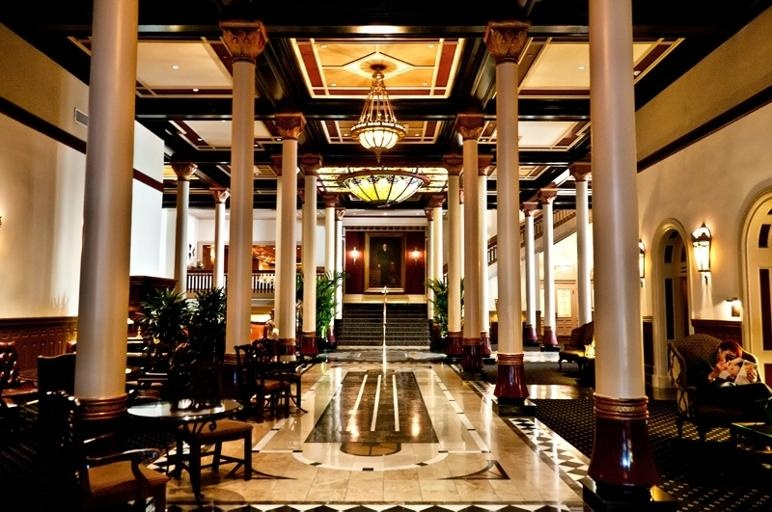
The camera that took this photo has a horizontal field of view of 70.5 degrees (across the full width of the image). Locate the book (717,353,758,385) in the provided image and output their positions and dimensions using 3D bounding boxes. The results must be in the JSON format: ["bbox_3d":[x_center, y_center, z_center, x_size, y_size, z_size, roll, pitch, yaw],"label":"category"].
[{"bbox_3d":[5.347,1.722,8.356,0.461,0.315,0.440,1,-11,-2],"label":"book"}]

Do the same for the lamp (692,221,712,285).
[{"bbox_3d":[6.212,-0.061,10.814,0.247,1.204,0.474,0,-9,1],"label":"lamp"}]

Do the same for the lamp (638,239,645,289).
[{"bbox_3d":[6.017,0.122,12.852,0.137,1.130,0.462,-4,-9,20],"label":"lamp"}]

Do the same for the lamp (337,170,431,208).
[{"bbox_3d":[-0.077,-2.017,15.333,2.232,0.773,1.208,0,-8,-4],"label":"lamp"}]
